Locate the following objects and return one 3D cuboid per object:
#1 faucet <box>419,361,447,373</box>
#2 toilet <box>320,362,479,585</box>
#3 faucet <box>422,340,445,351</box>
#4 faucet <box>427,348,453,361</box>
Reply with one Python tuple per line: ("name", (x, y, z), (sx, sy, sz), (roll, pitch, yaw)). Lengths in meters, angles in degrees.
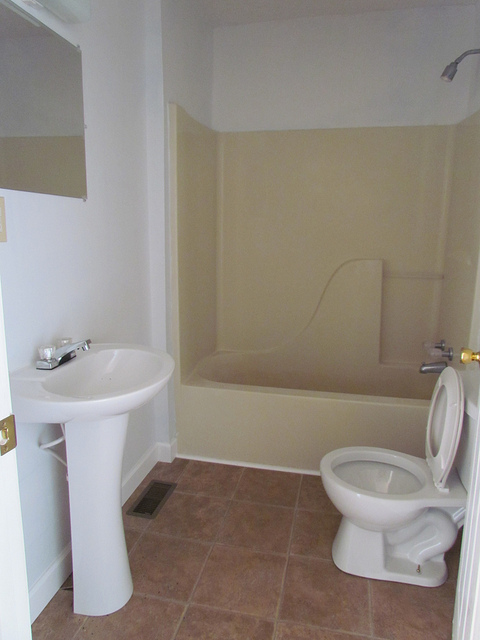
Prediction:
("faucet", (0.710, 0.169, 1.832), (0.068, 0.038, 0.046), (-7, 21, 9))
("toilet", (0.528, 0.472, 2.096), (0.657, 1.143, 0.547), (3, 11, 18))
("faucet", (0.933, 0.121, 2.398), (0.074, 0.041, 0.049), (2, 15, 13))
("faucet", (0.866, 0.146, 2.151), (0.122, 0.056, 0.047), (0, 14, 19))
